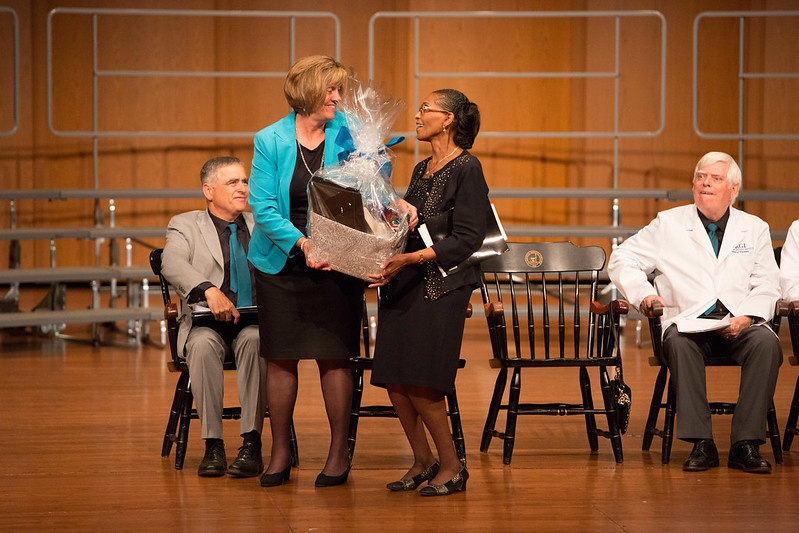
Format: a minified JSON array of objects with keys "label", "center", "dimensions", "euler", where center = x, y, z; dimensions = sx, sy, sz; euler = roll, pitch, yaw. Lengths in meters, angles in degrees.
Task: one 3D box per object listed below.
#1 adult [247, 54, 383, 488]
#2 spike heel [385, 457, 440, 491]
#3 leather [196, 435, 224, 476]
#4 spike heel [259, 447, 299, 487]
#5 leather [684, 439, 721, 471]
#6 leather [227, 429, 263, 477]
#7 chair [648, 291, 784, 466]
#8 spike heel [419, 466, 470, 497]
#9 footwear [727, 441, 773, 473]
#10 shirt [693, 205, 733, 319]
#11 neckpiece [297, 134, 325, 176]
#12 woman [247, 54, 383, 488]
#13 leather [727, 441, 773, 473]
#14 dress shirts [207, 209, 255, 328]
[{"label":"adult","center":[-0.500,0.043,5.646],"dimensions":[0.621,2.308,0.444],"euler":[-3,13,-10]},{"label":"spike heel","center":[0.091,1.169,5.732],"dimensions":[0.353,0.149,0.118],"euler":[-11,0,-13]},{"label":"leather","center":[-1.061,1.080,5.843],"dimensions":[0.155,0.198,0.121],"euler":[-3,13,-11]},{"label":"spike heel","center":[-0.684,1.126,5.770],"dimensions":[0.108,0.168,0.337],"euler":[0,-1,23]},{"label":"leather","center":[1.716,1.083,5.891],"dimensions":[0.105,0.134,0.277],"euler":[-7,-12,40]},{"label":"leather","center":[-0.860,1.053,5.812],"dimensions":[0.132,0.238,0.340],"euler":[-10,-10,17]},{"label":"chair","center":[1.903,0.628,6.359],"dimensions":[0.961,1.298,0.861],"euler":[0,2,7]},{"label":"spike heel","center":[0.261,1.181,5.661],"dimensions":[0.317,0.142,0.115],"euler":[1,-4,-24]},{"label":"footwear","center":[1.984,1.088,5.930],"dimensions":[0.119,0.139,0.272],"euler":[2,-7,-32]},{"label":"shirt","center":[1.849,0.006,5.984],"dimensions":[0.271,0.541,0.113],"euler":[1,-4,5]},{"label":"neckpiece","center":[-0.496,-0.586,5.483],"dimensions":[0.135,0.195,0.200],"euler":[0,-1,-10]},{"label":"woman","center":[-0.500,0.043,5.646],"dimensions":[0.621,2.308,0.444],"euler":[-3,13,-10]},{"label":"leather","center":[1.982,1.093,5.929],"dimensions":[0.119,0.139,0.272],"euler":[2,-7,-32]},{"label":"dress shirts","center":[-0.970,0.021,5.974],"dimensions":[0.360,0.497,0.145],"euler":[-2,-3,8]}]
